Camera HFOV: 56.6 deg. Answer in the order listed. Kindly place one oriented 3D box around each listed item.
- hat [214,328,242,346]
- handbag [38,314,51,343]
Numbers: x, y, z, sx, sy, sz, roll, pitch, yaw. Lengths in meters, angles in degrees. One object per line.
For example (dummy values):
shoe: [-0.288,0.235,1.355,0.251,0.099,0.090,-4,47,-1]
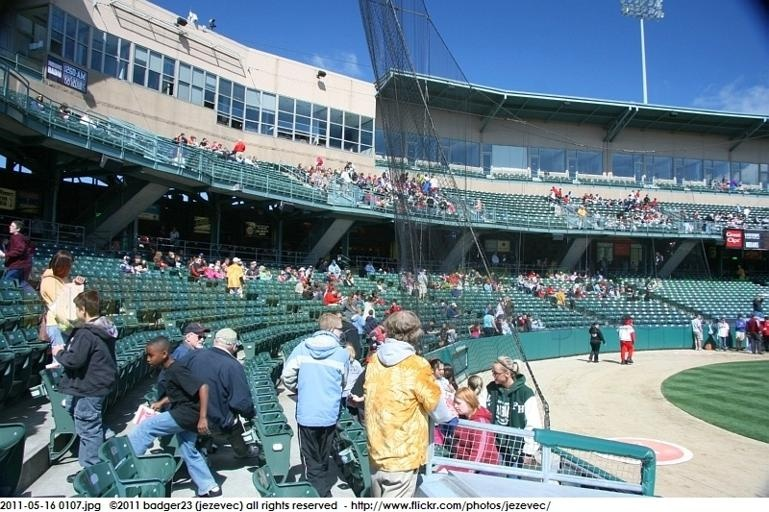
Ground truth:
hat: [-3.090,1.571,14.010,0.286,0.205,0.392,6,10,-6]
handbag: [-7.032,1.488,14.743,0.164,0.455,0.341,7,-4,-25]
